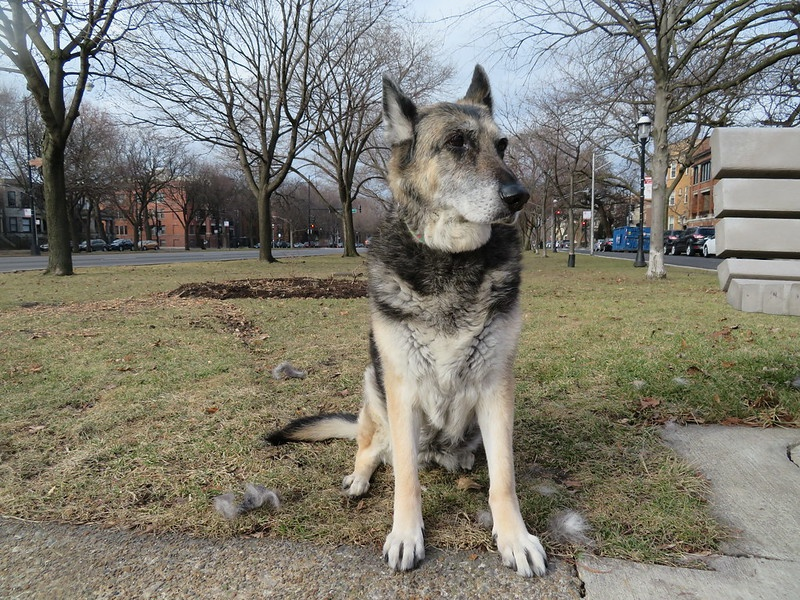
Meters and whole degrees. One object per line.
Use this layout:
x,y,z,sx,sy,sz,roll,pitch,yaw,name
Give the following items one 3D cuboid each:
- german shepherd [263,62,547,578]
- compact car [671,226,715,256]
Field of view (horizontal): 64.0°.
0.357,0.063,5.854,2.804,4.070,2.976,-1,2,0,german shepherd
16.960,-3.307,37.028,1.380,1.684,5.124,2,8,15,compact car
